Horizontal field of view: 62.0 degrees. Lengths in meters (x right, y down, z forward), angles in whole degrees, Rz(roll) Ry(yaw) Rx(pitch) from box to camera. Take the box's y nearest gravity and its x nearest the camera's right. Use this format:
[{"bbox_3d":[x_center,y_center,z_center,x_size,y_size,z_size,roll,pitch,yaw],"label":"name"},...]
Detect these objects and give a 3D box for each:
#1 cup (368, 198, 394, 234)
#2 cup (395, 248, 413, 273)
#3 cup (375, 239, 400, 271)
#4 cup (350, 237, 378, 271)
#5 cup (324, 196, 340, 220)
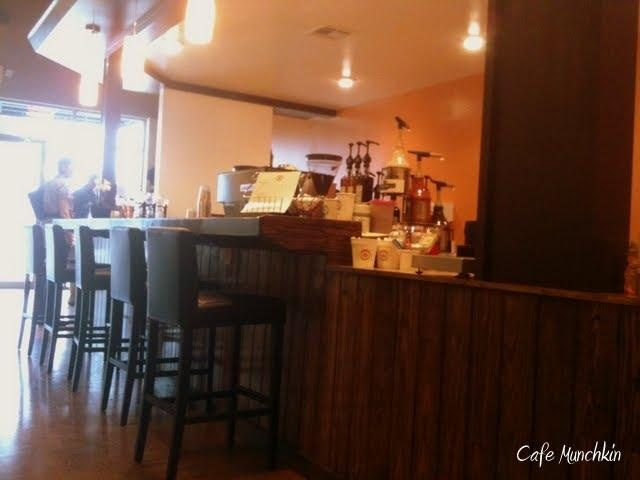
[{"bbox_3d":[0.346,-0.124,2.936,0.148,0.167,0.152,2,1,0],"label":"cup"},{"bbox_3d":[0.358,0.095,2.324,0.078,0.097,0.084,-1,-2,0],"label":"cup"},{"bbox_3d":[0.302,0.069,2.431,0.116,0.125,0.119,2,-7,0],"label":"cup"},{"bbox_3d":[0.203,0.065,2.475,0.122,0.141,0.126,2,3,0],"label":"cup"},{"bbox_3d":[0.059,-0.157,2.720,0.092,0.136,0.094,0,4,0],"label":"cup"}]
